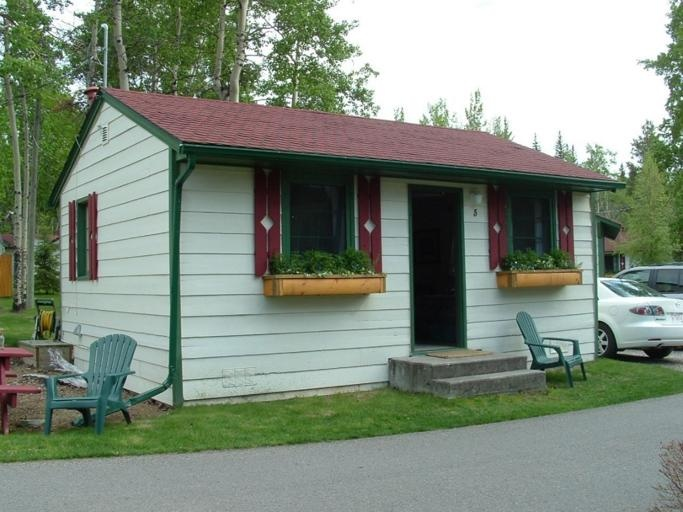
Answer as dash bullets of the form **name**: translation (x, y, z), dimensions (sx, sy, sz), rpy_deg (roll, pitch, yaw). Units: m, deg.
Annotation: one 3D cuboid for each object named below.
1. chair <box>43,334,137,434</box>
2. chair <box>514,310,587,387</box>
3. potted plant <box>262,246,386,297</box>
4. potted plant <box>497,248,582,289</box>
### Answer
- **chair**: translation (-3.421, 1.736, 9.614), dimensions (1.028, 1.350, 1.002), rpy_deg (-2, -9, 9)
- **chair**: translation (3.663, 1.590, 12.184), dimensions (1.084, 1.179, 0.899), rpy_deg (0, 1, 44)
- **potted plant**: translation (-0.285, 0.282, 11.090), dimensions (1.896, 0.743, 0.482), rpy_deg (-2, 7, -20)
- **potted plant**: translation (3.697, 0.256, 13.021), dimensions (1.644, 0.758, 0.485), rpy_deg (-2, 7, -21)
